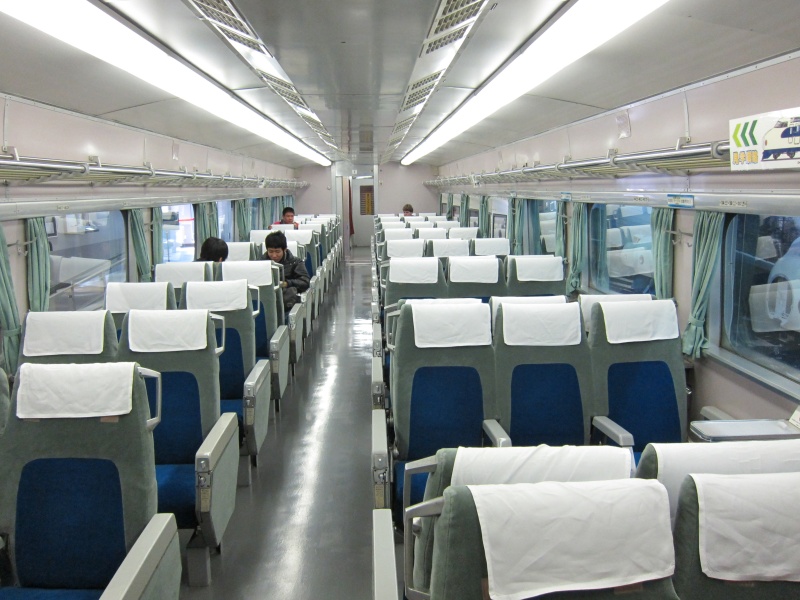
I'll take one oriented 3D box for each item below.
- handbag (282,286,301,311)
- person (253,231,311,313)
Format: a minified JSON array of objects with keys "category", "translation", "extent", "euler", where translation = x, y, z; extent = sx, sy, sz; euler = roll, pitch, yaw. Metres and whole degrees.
[{"category":"handbag","translation":[-1.642,-0.004,9.145],"extent":[0.227,0.333,0.304],"euler":[2,-15,-14]},{"category":"person","translation":[-1.849,-0.364,9.243],"extent":[0.724,1.159,0.681],"euler":[-5,9,3]}]
